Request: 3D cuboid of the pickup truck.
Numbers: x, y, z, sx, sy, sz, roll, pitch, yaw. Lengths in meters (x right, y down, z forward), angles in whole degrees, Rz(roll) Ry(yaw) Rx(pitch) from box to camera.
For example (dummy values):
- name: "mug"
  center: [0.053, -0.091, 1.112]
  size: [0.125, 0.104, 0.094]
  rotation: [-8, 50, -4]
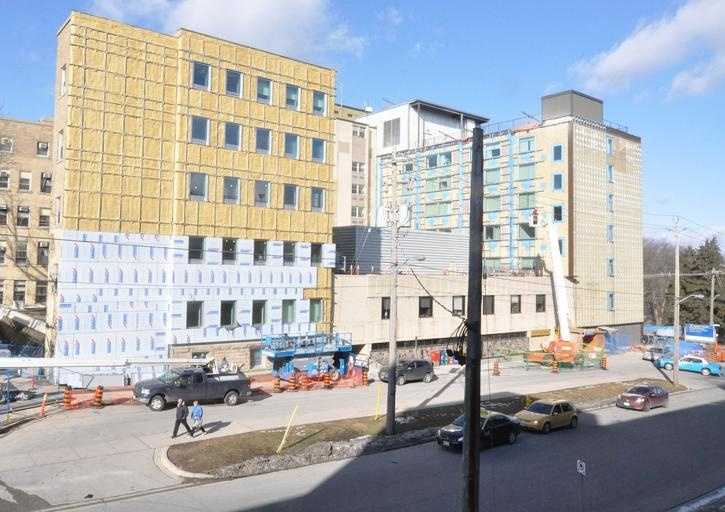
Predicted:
- name: "pickup truck"
  center: [-10.986, 8.844, 48.951]
  size: [7.220, 2.340, 2.843]
  rotation: [-1, -3, -19]

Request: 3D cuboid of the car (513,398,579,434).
- name: "car"
  center: [11.650, 10.064, 47.151]
  size: [4.219, 1.732, 2.437]
  rotation: [1, -2, -35]

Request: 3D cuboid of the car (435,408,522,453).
- name: "car"
  center: [6.787, 9.999, 42.943]
  size: [4.864, 2.115, 1.928]
  rotation: [-5, 11, -39]
